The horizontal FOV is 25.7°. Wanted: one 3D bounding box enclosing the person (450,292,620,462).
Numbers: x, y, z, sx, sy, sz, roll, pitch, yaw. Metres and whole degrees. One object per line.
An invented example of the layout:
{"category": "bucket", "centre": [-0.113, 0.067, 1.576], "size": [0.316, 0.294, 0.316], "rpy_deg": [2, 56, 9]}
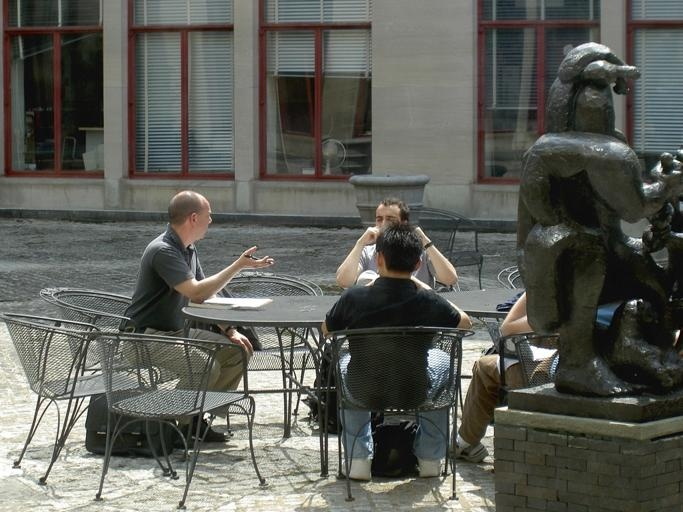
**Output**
{"category": "person", "centre": [1.204, 0.882, 10.907], "size": [0.647, 1.336, 1.096], "rpy_deg": [-2, 11, -10]}

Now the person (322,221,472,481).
{"category": "person", "centre": [0.407, 0.723, 11.145], "size": [1.125, 1.877, 0.999], "rpy_deg": [0, 11, -3]}

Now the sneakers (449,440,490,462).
{"category": "sneakers", "centre": [0.965, 1.447, 11.188], "size": [0.326, 0.157, 0.119], "rpy_deg": [7, 6, 18]}

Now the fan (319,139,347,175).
{"category": "fan", "centre": [-0.140, -1.663, 24.476], "size": [0.465, 0.566, 0.190], "rpy_deg": [7, 13, 34]}

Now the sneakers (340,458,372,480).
{"category": "sneakers", "centre": [0.124, 1.537, 10.895], "size": [0.171, 0.160, 0.148], "rpy_deg": [5, -7, -5]}

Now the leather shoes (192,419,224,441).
{"category": "leather shoes", "centre": [-1.071, 1.334, 11.546], "size": [0.384, 0.162, 0.127], "rpy_deg": [2, 2, 8]}

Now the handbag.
{"category": "handbag", "centre": [-1.538, 1.291, 11.400], "size": [0.735, 0.528, 0.477], "rpy_deg": [3, -9, 7]}

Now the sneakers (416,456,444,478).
{"category": "sneakers", "centre": [0.650, 1.528, 10.948], "size": [0.155, 0.133, 0.151], "rpy_deg": [2, 5, 3]}

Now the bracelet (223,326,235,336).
{"category": "bracelet", "centre": [-0.892, 0.586, 11.971], "size": [0.075, 0.054, 0.072], "rpy_deg": [1, 6, -3]}
